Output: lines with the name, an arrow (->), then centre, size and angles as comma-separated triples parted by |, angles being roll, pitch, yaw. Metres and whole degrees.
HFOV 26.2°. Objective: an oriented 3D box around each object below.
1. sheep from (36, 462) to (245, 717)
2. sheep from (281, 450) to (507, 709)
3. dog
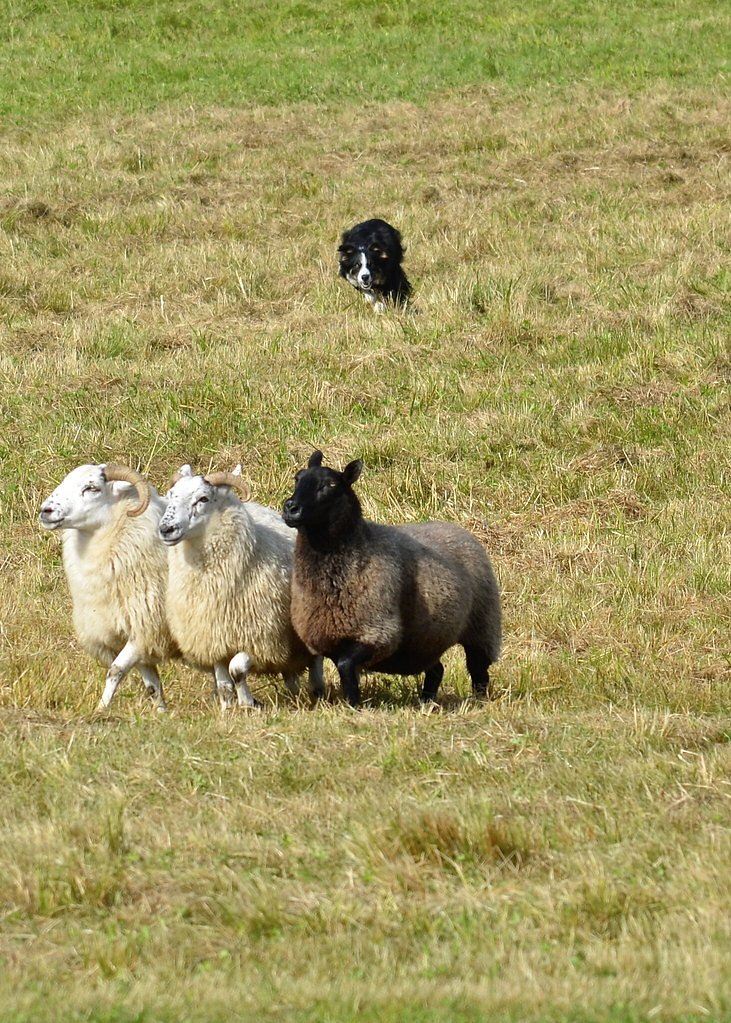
sheep -> -1.272, 0.509, 7.930 | 0.745, 1.262, 1.502 | 0, -11, 12
sheep -> 0.121, 0.429, 7.616 | 0.613, 1.468, 1.199 | 18, 31, 36
dog -> 0.151, -2.462, 16.081 | 0.672, 0.987, 2.047 | 3, 9, 15
